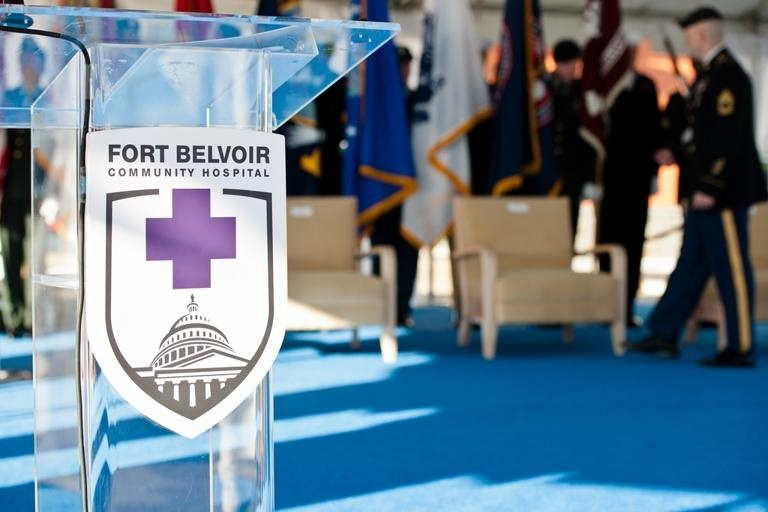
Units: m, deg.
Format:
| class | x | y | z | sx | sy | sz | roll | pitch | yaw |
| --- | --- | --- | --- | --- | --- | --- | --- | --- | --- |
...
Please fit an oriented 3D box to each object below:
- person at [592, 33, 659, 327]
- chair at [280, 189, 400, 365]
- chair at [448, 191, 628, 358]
| class | x | y | z | sx | sy | sz | roll | pitch | yaw |
| --- | --- | --- | --- | --- | --- | --- | --- | --- | --- |
| person | 1.544 | -0.658 | 8.165 | 0.559 | 0.576 | 2.216 | 0 | 45 | 12 |
| chair | -0.345 | 0.118 | 7.145 | 0.684 | 0.948 | 0.724 | 0 | -5 | -12 |
| chair | 0.843 | 0.100 | 7.345 | 0.858 | 0.915 | 0.922 | 0 | -3 | -15 |
